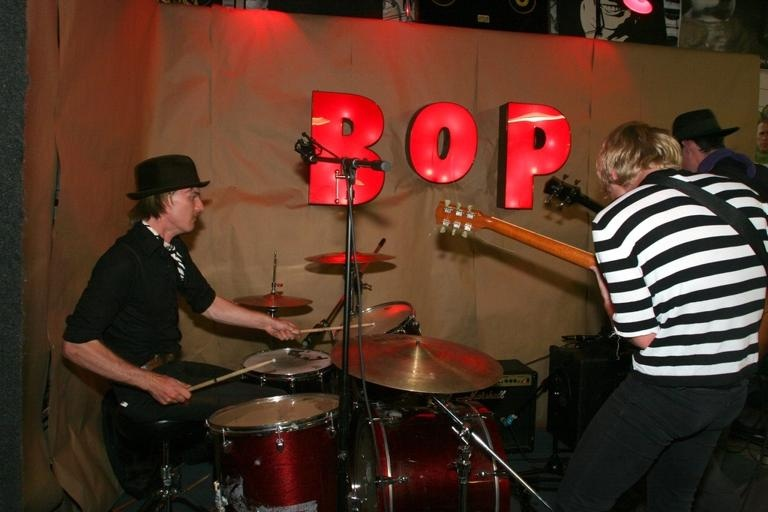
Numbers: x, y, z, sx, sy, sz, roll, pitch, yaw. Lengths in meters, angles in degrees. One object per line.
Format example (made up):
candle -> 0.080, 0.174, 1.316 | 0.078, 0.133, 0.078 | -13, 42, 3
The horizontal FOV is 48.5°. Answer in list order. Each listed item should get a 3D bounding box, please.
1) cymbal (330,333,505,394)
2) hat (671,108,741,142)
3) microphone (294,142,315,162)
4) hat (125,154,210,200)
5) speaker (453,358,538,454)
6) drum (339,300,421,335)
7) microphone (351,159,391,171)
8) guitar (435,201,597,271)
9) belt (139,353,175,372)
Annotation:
cymbal -> 0.222, 0.611, 5.421 | 0.975, 0.185, 0.989 | 2, 14, 5
hat -> 2.234, -0.904, 5.953 | 0.355, 0.127, 0.323 | -11, 4, 43
microphone -> -0.459, -0.634, 5.019 | 0.095, 0.129, 0.045 | -38, 8, 28
hat -> -1.459, -0.530, 5.649 | 0.376, 0.152, 0.312 | -11, 3, 13
speaker -> 0.987, 1.155, 6.845 | 0.882, 0.899, 0.676 | -1, 0, -3
drum -> 0.036, 0.455, 6.164 | 0.421, 0.206, 0.482 | -2, 3, -17
microphone -> -0.117, -0.553, 4.977 | 0.334, 0.059, 0.078 | 7, -12, 40
guitar -> 0.972, -0.171, 6.650 | 1.362, 0.229, 0.197 | 16, -10, -12
belt -> -1.477, 0.687, 5.579 | 0.115, 0.031, 0.127 | -25, 6, 24
